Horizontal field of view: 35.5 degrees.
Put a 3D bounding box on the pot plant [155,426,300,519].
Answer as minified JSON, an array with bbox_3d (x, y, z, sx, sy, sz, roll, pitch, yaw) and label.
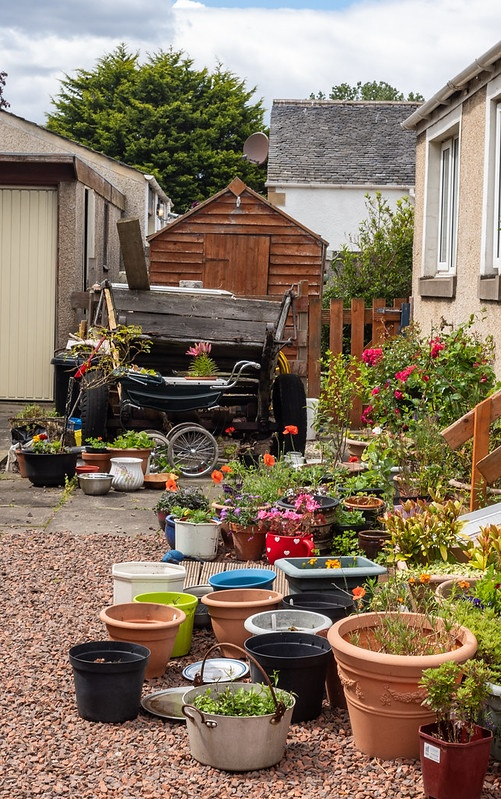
[{"bbox_3d":[-0.011,0.492,4.844,0.613,0.340,0.880,-1,5,-19],"label":"pot plant"}]

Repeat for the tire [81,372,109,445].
[{"bbox_3d":[-1.474,0.051,7.205,0.243,0.689,0.687,1,14,-17],"label":"tire"}]

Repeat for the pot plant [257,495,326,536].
[{"bbox_3d":[0.195,0.597,3.929,0.236,0.184,0.237,-8,-7,15],"label":"pot plant"}]

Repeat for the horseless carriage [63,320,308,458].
[{"bbox_3d":[-0.781,-0.092,7.618,2.207,0.928,2.320,-14,-17,30],"label":"horseless carriage"}]

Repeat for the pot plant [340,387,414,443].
[{"bbox_3d":[0.988,0.121,6.146,0.439,0.327,0.417,-5,19,-11],"label":"pot plant"}]

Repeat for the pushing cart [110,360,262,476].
[{"bbox_3d":[-0.616,0.110,7.135,1.272,1.023,0.758,2,9,-4],"label":"pushing cart"}]

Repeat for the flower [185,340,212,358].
[{"bbox_3d":[-0.488,-0.470,7.290,0.175,0.103,0.155,-26,9,-11],"label":"flower"}]
